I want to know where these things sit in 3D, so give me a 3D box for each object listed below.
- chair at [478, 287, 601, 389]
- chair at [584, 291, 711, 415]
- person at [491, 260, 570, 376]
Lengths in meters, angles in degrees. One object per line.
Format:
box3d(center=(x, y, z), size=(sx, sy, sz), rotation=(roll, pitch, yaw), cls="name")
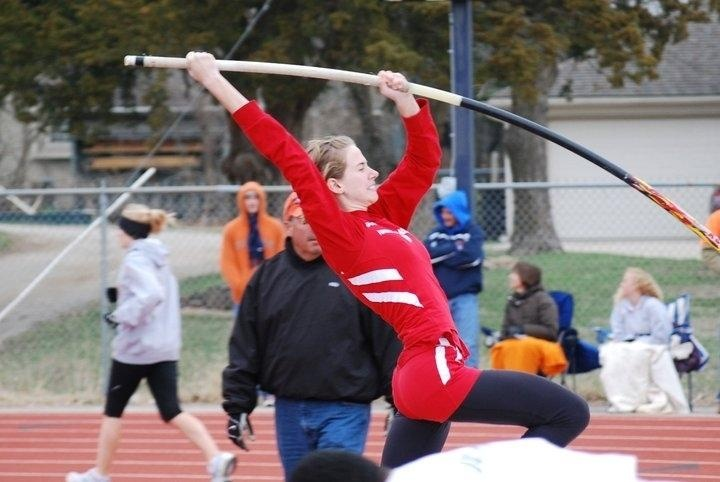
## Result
box3d(center=(2.093, 1.305, 19.122), size=(1.047, 1.424, 1.182), rotation=(0, 2, 14), cls="chair")
box3d(center=(3.584, 1.359, 19.356), size=(1.388, 1.450, 1.090), rotation=(-10, 4, 37), cls="chair")
box3d(center=(2.111, 0.951, 19.264), size=(0.828, 1.289, 1.030), rotation=(20, -32, -23), cls="person")
